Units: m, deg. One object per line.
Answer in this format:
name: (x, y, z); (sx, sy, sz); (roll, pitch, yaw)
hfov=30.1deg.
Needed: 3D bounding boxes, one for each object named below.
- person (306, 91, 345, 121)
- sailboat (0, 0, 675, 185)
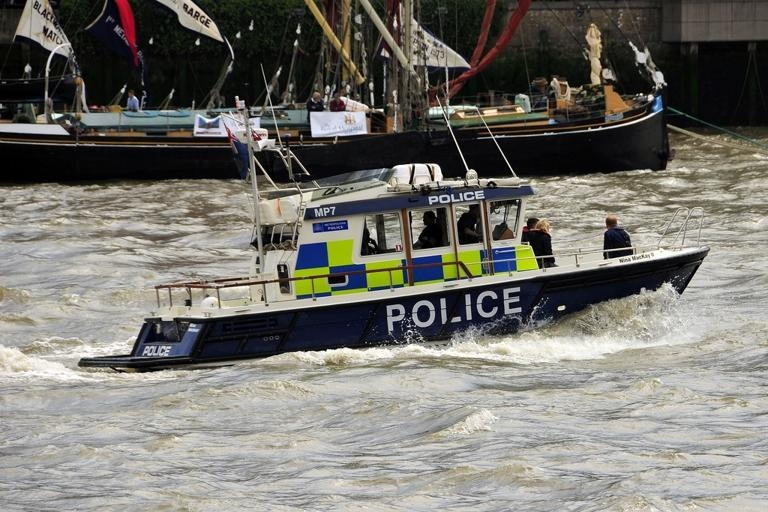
person: (-1.760, -5.232, 49.330); (1.700, 1.192, 0.851); (-1, 9, -8)
sailboat: (-1.183, -4.942, 48.204); (21.490, 4.760, 2.374); (-1, 6, 2)
